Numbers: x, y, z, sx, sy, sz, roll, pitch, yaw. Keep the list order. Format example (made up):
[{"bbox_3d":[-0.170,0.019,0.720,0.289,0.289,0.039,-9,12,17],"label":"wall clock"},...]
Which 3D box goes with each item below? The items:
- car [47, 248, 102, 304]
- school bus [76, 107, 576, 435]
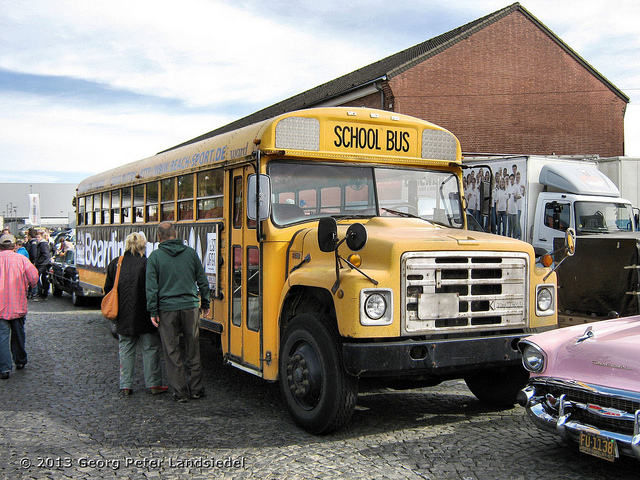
[{"bbox_3d":[-7.491,1.112,17.878,1.610,1.545,3.217,0,9,-33],"label":"car"},{"bbox_3d":[-0.999,0.096,10.324,3.477,3.886,10.130,0,0,-30],"label":"school bus"}]
